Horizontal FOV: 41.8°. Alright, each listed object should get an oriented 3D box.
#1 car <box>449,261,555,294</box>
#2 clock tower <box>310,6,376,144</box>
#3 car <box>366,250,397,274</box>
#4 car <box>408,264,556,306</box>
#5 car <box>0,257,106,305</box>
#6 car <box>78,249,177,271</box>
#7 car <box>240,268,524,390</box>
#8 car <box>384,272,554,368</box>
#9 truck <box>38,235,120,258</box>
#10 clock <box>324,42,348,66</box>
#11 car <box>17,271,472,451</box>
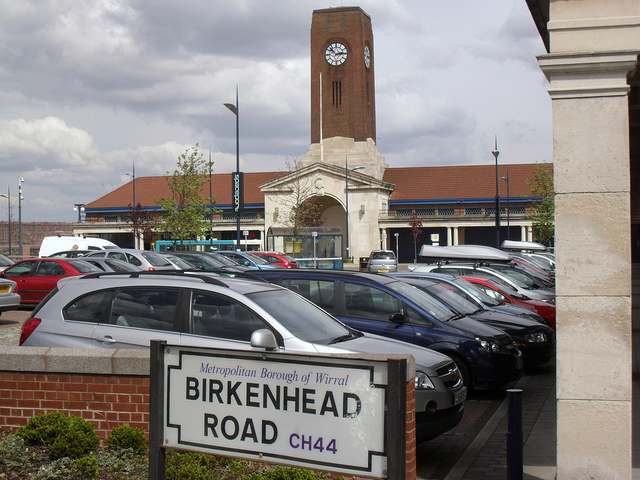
[{"bbox_3d":[4.990,1.187,22.219,2.412,0.880,1.190,0,3,13],"label":"car"},{"bbox_3d":[2.001,-15.040,75.289,5.530,12.738,3.935,1,-4,-1],"label":"clock tower"},{"bbox_3d":[3.545,1.192,46.511,1.292,1.214,2.376,0,5,3],"label":"car"},{"bbox_3d":[3.953,0.898,19.793,2.835,1.010,1.299,0,1,17],"label":"car"},{"bbox_3d":[-5.591,0.840,17.308,2.522,0.836,1.181,1,0,20],"label":"car"},{"bbox_3d":[-5.927,0.559,26.501,2.411,0.798,1.126,4,1,19],"label":"car"},{"bbox_3d":[0.871,1.152,12.908,4.302,1.447,1.849,1,0,17],"label":"car"},{"bbox_3d":[2.394,1.409,14.967,3.364,1.137,1.503,2,0,19],"label":"car"},{"bbox_3d":[-10.948,0.276,38.244,2.416,1.215,1.461,-2,5,-7],"label":"truck"},{"bbox_3d":[1.504,-16.806,75.380,1.707,1.708,0.119,35,-1,8],"label":"clock"},{"bbox_3d":[-1.098,1.372,9.839,5.195,2.007,1.226,0,-4,0],"label":"car"}]
